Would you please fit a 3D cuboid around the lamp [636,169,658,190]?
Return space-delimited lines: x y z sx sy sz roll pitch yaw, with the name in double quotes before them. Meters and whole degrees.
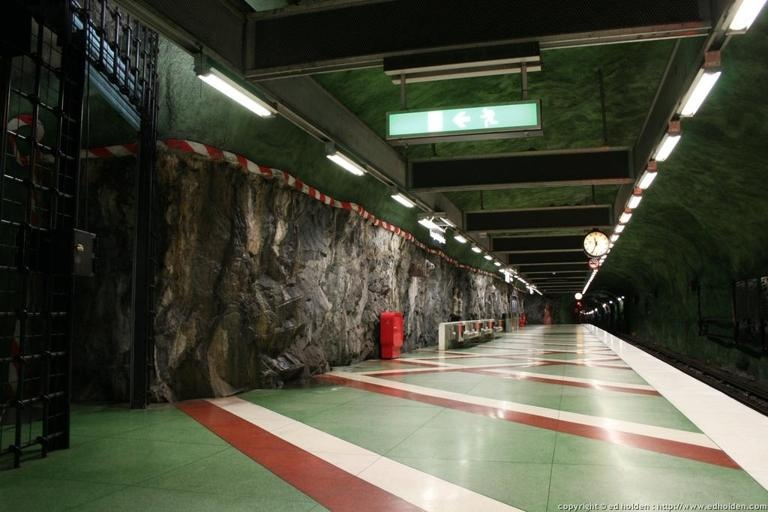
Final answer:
"lamp" 5.814 -1.774 11.696 0.318 0.145 0.613 9 -16 11

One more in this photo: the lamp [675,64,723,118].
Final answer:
"lamp" 4.809 -2.594 8.078 0.401 0.236 1.026 10 -46 2

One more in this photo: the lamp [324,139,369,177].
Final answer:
"lamp" -0.852 -2.114 11.297 0.392 0.495 1.345 0 -1 16
